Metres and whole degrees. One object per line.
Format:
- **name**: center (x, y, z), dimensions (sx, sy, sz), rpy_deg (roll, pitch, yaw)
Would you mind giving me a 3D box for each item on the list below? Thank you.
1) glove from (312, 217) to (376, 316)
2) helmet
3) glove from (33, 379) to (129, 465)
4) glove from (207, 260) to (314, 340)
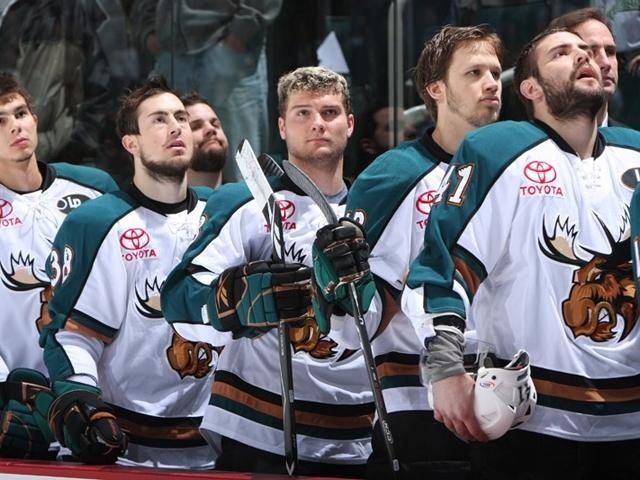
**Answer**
- **glove**: center (0.113, 0.157, 5.324), dimensions (0.306, 0.477, 0.274), rpy_deg (20, -44, -33)
- **helmet**: center (0.741, 0.723, 5.143), dimensions (0.304, 0.370, 0.403), rpy_deg (0, 13, -41)
- **glove**: center (-1.346, 0.960, 6.051), dimensions (0.429, 0.300, 0.672), rpy_deg (4, 24, -44)
- **glove**: center (-0.305, 0.306, 5.453), dimensions (0.463, 0.191, 0.333), rpy_deg (-10, 11, -5)
